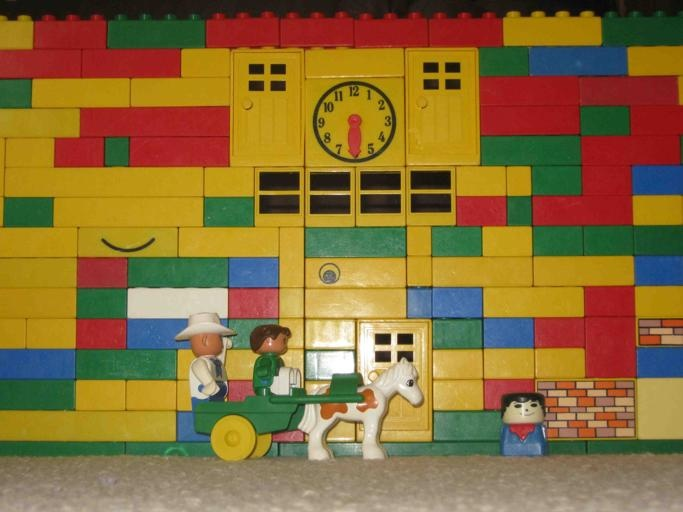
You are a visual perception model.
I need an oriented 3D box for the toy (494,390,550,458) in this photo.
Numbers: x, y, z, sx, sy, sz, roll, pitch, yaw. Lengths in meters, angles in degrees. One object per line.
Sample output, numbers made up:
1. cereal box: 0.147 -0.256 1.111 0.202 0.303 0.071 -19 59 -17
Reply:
1. toy: 1.209 1.117 11.061 0.308 0.402 0.158 0 -14 5
